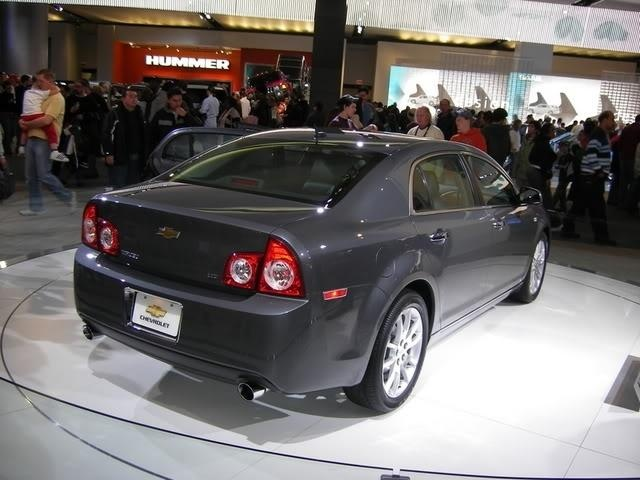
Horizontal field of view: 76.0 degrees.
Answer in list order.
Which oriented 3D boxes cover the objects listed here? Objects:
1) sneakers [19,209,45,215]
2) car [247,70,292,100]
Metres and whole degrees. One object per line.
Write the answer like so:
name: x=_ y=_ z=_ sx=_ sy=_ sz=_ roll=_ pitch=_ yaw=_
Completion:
sneakers: x=-4.228 y=-0.399 z=6.092 sx=0.301 sy=0.111 sz=0.110 roll=4 pitch=14 yaw=-19
car: x=-1.760 y=-5.201 z=14.220 sx=1.096 sy=0.888 sz=1.778 roll=-33 pitch=33 yaw=-24
